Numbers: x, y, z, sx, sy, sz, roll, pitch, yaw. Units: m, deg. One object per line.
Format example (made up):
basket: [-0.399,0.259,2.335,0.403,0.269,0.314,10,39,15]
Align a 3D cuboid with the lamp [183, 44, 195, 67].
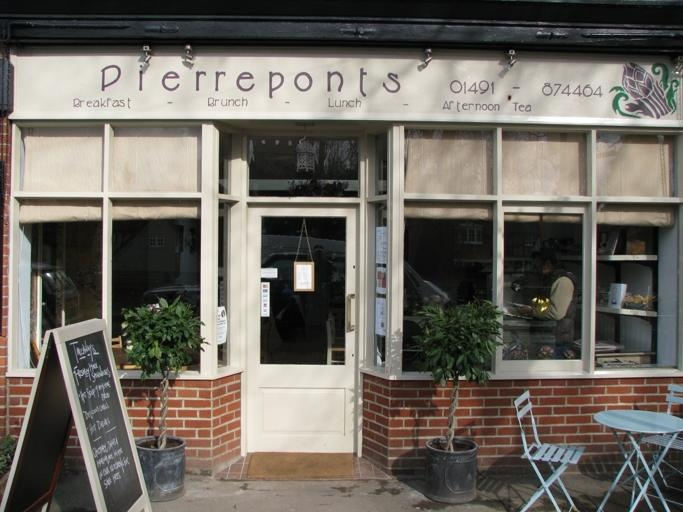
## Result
lamp: [-1.677,-2.200,8.279,0.132,0.213,0.050,1,20,4]

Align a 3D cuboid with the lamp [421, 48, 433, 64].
lamp: [0.957,-2.211,8.343,0.116,0.180,0.090,2,13,6]

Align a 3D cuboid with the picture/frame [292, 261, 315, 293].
picture/frame: [-0.431,0.245,8.855,0.353,0.491,0.037,0,-2,-2]

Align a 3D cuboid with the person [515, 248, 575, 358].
person: [2.387,0.532,8.825,0.656,1.280,0.654,10,23,33]

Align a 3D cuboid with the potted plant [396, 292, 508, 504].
potted plant: [1.217,1.487,8.048,0.875,1.980,1.121,3,14,12]
